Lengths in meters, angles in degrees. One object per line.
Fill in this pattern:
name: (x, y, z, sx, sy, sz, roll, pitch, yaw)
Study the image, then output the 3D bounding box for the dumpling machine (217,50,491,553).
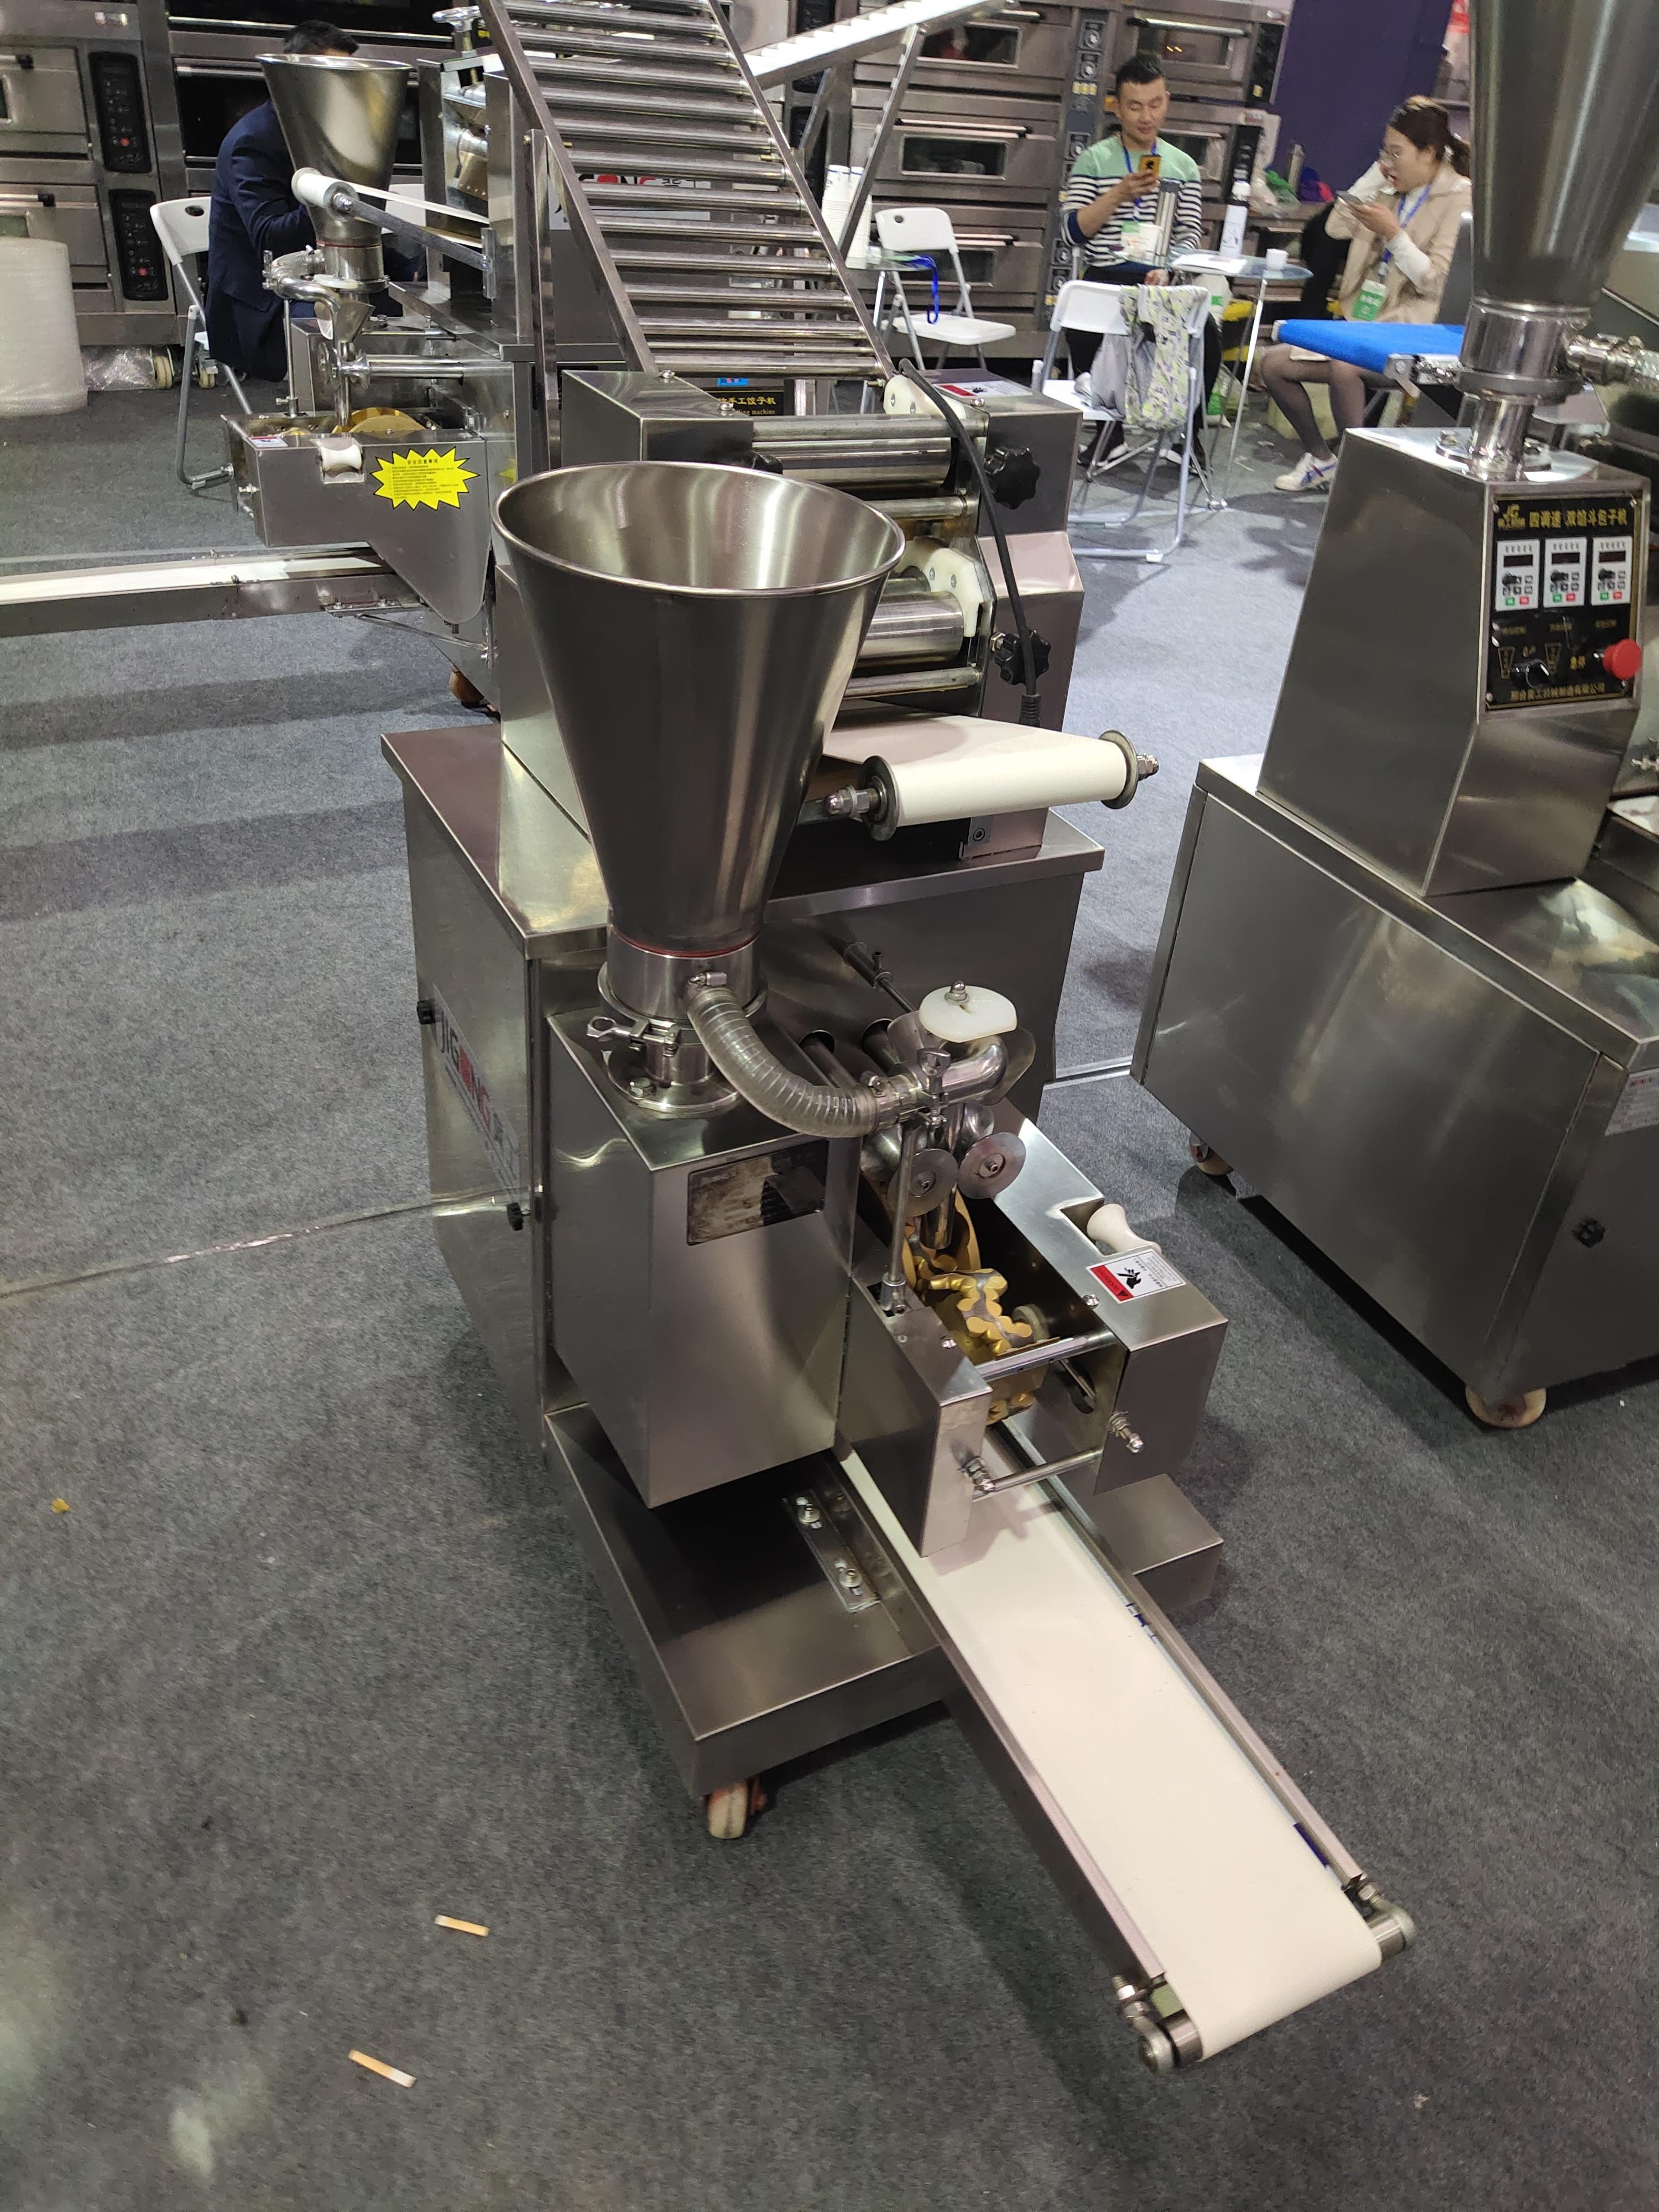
dumpling machine: (-0.979, -1.636, 3.461, 0.507, 0.880, 1.132, -6, 32, -17)

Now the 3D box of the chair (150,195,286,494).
chair: (-1.822, -2.252, 5.086, 0.480, 0.713, 0.432, -5, 19, -2)
